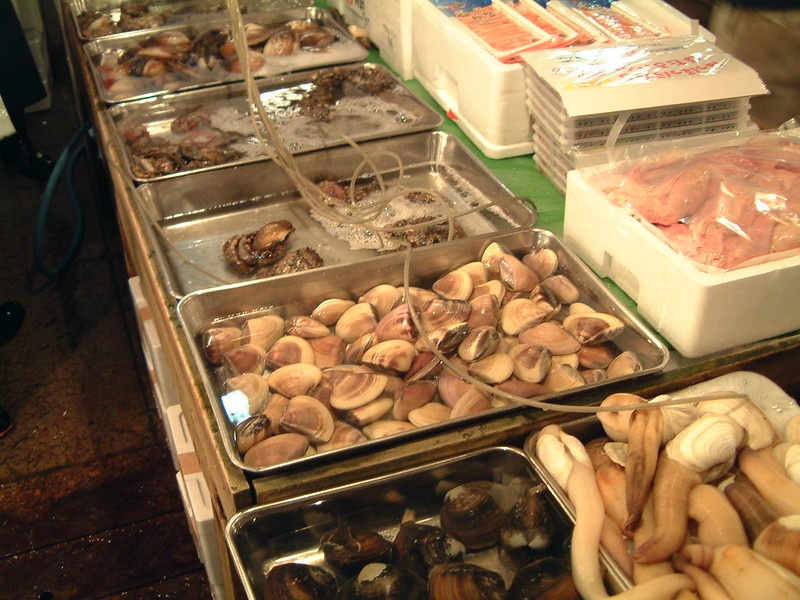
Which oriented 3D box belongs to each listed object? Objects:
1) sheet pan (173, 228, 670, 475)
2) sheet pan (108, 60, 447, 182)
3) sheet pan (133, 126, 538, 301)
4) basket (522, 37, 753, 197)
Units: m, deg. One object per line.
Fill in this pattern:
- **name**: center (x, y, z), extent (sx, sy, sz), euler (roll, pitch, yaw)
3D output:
- **sheet pan**: center (0.054, 0.095, 1.147), extent (0.765, 0.094, 0.428), euler (-12, 40, -9)
- **sheet pan**: center (-0.372, -0.550, 1.894), extent (0.882, 0.088, 0.472), euler (-11, 42, -13)
- **sheet pan**: center (-0.213, -0.285, 1.698), extent (0.873, 0.108, 0.494), euler (-12, 40, -14)
- **basket**: center (0.552, -0.468, 1.531), extent (0.466, 0.253, 0.432), euler (-8, 35, -10)
